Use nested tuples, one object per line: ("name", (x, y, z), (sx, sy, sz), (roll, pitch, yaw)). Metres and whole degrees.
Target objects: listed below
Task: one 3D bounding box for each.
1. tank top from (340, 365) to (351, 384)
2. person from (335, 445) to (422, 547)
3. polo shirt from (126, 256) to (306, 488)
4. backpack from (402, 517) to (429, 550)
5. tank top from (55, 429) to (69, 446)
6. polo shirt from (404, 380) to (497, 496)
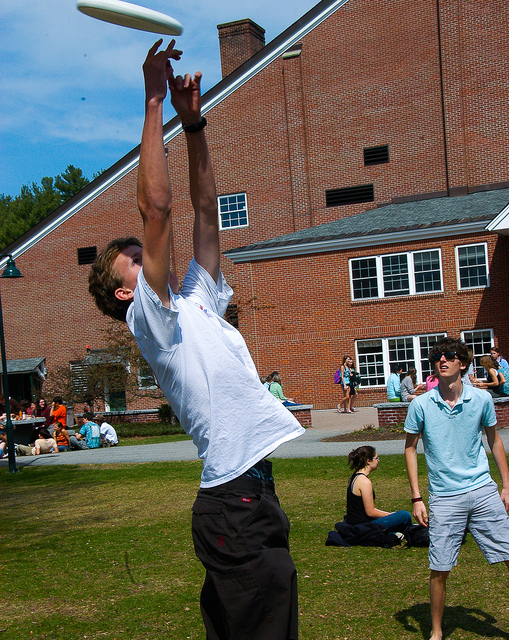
("tank top", (3.010, 1.856, 25.663), (0.270, 0.493, 0.147), (-6, -2, 2))
("person", (1.225, 1.739, 7.555), (0.835, 0.907, 0.841), (-7, -11, 33))
("polo shirt", (-0.157, 0.210, 2.778), (0.555, 0.609, 0.322), (-4, -3, -26))
("backpack", (1.460, 1.985, 7.123), (0.234, 0.226, 0.430), (-6, -3, 14))
("tank top", (-4.971, 3.055, 20.007), (0.428, 0.456, 0.289), (-2, -21, -10))
("polo shirt", (1.182, 0.726, 4.702), (0.529, 0.609, 0.284), (-6, -2, 10))
